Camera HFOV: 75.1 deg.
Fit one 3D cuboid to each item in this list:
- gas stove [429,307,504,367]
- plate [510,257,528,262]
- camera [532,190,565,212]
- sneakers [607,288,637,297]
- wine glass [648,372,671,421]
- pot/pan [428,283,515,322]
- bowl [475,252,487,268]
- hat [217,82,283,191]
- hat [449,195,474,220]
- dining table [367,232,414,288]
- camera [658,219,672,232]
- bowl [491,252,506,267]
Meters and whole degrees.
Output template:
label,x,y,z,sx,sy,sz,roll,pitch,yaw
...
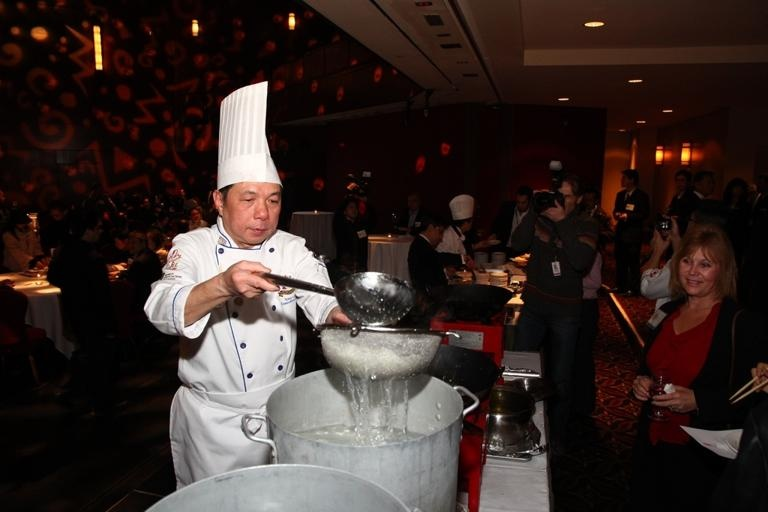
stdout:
label,x,y,z,sx,sy,sz,roll,pitch,yaw
gas stove,0.466,0.554,2.880,0.338,0.248,0.351,-5,-11,6
plate,1.550,0.034,5.765,0.161,0.064,0.119,-1,7,2
camera,1.139,-0.402,3.525,0.197,0.148,0.142,4,8,22
sneakers,3.507,0.571,7.519,0.120,0.149,0.352,-29,11,-34
wine glass,1.468,0.763,2.700,0.089,0.220,0.185,5,8,27
pot/pan,0.493,0.285,3.051,0.551,0.164,0.520,-2,6,-24
bowl,1.077,0.039,5.546,0.148,0.168,0.150,-1,1,0
hat,-0.607,-0.540,2.229,0.288,0.467,0.178,1,7,3
hat,0.843,-0.550,5.528,0.239,0.237,0.304,-2,12,13
dining table,0.070,0.077,7.491,0.638,0.565,0.657,6,8,34
camera,1.967,-0.230,3.491,0.092,0.082,0.152,8,12,20
bowl,1.228,0.036,5.460,0.149,0.170,0.153,0,2,0
